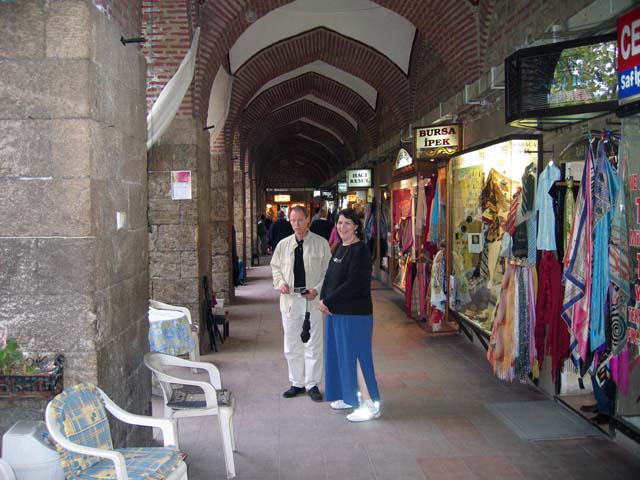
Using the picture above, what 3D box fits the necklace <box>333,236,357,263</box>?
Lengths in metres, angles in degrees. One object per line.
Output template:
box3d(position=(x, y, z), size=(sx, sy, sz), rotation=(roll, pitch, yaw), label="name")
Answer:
box3d(position=(0.214, 0.096, 5.552), size=(0.167, 0.270, 0.087), rotation=(6, 9, -23), label="necklace")

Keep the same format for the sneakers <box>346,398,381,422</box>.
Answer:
box3d(position=(0.460, 1.771, 5.407), size=(0.391, 0.201, 0.150), rotation=(-1, 0, 0), label="sneakers")

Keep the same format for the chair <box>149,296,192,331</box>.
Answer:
box3d(position=(-1.888, 0.938, 6.717), size=(0.405, 0.389, 0.427), rotation=(-4, -8, 35), label="chair")

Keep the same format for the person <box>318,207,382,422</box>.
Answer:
box3d(position=(0.310, 0.766, 5.502), size=(0.624, 2.170, 0.475), rotation=(0, 3, 8), label="person")

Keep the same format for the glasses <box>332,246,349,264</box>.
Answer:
box3d(position=(0.202, 0.155, 5.505), size=(0.051, 0.188, 0.120), rotation=(17, -5, -28), label="glasses")

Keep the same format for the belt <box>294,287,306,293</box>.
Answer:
box3d(position=(-0.231, 0.583, 5.877), size=(0.128, 0.066, 0.080), rotation=(-1, 3, -2), label="belt")

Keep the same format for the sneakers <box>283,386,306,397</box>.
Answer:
box3d(position=(-0.304, 1.749, 6.070), size=(0.256, 0.127, 0.097), rotation=(2, -1, -35), label="sneakers")

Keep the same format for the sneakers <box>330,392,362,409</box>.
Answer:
box3d(position=(0.283, 1.744, 5.645), size=(0.416, 0.200, 0.155), rotation=(3, -2, 1), label="sneakers")

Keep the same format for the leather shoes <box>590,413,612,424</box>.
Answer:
box3d(position=(2.729, 1.752, 5.127), size=(0.122, 0.088, 0.166), rotation=(-2, 4, -25), label="leather shoes")
